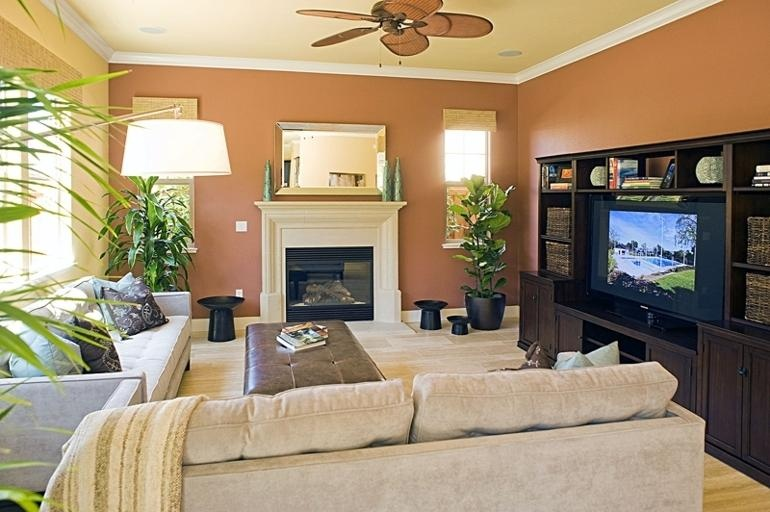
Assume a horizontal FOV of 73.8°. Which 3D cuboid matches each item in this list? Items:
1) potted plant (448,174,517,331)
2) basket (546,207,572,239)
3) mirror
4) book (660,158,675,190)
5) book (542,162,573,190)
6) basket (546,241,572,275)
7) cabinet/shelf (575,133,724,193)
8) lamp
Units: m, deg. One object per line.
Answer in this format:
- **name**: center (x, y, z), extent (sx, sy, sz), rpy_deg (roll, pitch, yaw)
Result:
- **potted plant**: center (1.239, -0.035, 6.540), extent (0.772, 1.916, 0.877), rpy_deg (-1, 7, 10)
- **basket**: center (1.869, -0.351, 5.480), extent (0.272, 0.340, 0.398), rpy_deg (1, 2, -12)
- **mirror**: center (-0.698, -1.217, 6.535), extent (1.790, 0.943, 0.037), rpy_deg (-8, 15, -41)
- **book**: center (2.390, -0.693, 4.326), extent (0.093, 0.266, 0.385), rpy_deg (1, 7, 27)
- **book**: center (1.870, -0.854, 5.574), extent (0.418, 0.298, 0.089), rpy_deg (2, -12, 27)
- **basket**: center (1.947, 0.016, 5.525), extent (0.225, 0.374, 0.511), rpy_deg (0, 3, -5)
- **cabinet/shelf**: center (2.456, -0.765, 4.485), extent (0.616, 0.387, 1.652), rpy_deg (-3, 6, -17)
- **lamp**: center (-1.376, -0.558, 2.489), extent (1.193, 0.357, 0.504), rpy_deg (-1, 5, -10)
